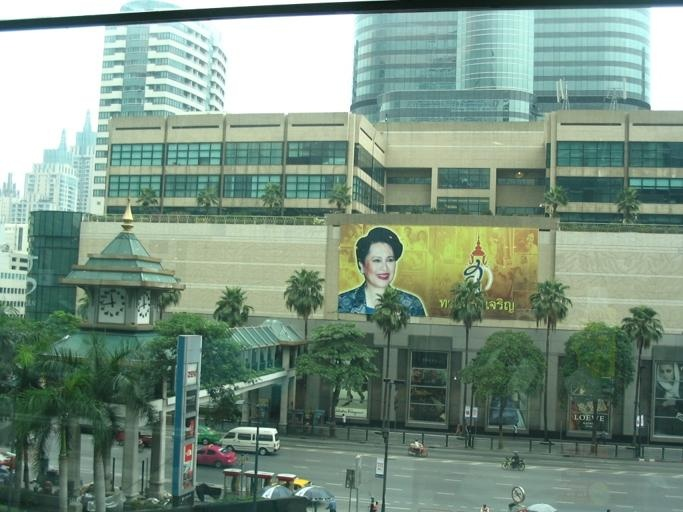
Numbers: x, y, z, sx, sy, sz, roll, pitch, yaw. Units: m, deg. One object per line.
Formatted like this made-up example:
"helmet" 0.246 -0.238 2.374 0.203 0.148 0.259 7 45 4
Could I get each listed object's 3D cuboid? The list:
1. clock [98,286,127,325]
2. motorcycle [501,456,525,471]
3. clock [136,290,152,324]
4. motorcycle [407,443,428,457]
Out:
"clock" -5.779 1.253 29.073 0.923 1.212 0.101 2 -18 -8
"motorcycle" 4.924 5.927 33.303 0.548 0.351 0.354 -3 -9 25
"clock" -4.979 1.287 29.140 0.447 0.828 0.189 5 -11 -32
"motorcycle" 2.358 6.021 36.019 0.538 0.334 0.307 -9 -6 21
